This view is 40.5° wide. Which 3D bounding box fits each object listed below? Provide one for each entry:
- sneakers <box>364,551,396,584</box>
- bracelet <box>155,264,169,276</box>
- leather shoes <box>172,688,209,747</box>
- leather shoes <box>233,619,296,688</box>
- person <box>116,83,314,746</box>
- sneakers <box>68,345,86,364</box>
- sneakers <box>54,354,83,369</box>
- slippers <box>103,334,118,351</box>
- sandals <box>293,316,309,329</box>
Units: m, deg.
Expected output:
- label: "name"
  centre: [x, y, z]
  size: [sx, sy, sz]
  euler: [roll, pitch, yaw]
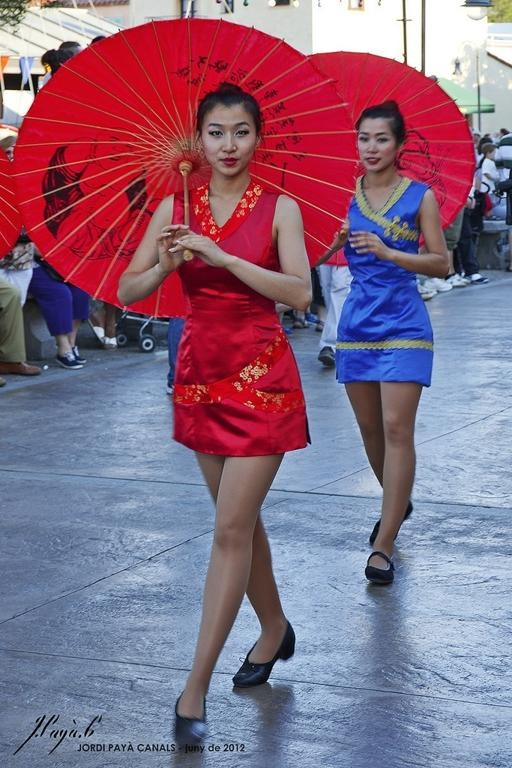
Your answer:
- label: "sneakers"
  centre: [0.559, 0.840, 3.165]
  size: [0.124, 0.128, 0.113]
  euler: [0, 7, 9]
- label: "bracelet"
  centre: [-0.244, -0.291, 1.784]
  size: [0.028, 0.024, 0.025]
  euler: [2, -10, -6]
- label: "leather shoes"
  centre: [-0.174, 0.882, 1.813]
  size: [0.088, 0.111, 0.119]
  euler: [-2, 7, -6]
- label: "leather shoes"
  centre: [0.019, 0.910, 2.320]
  size: [0.097, 0.112, 0.285]
  euler: [7, 26, 40]
- label: "person"
  centre: [-0.089, 0.095, 1.932]
  size: [0.509, 1.796, 0.475]
  euler: [-3, 8, -15]
- label: "sneakers"
  centre: [-2.366, -0.384, 9.262]
  size: [0.152, 0.227, 0.410]
  euler: [-15, 22, -41]
- label: "sneakers"
  centre: [-2.441, -0.305, 9.017]
  size: [0.369, 0.139, 0.158]
  euler: [13, 24, 25]
- label: "slippers"
  centre: [-2.120, -0.588, 10.064]
  size: [0.140, 0.132, 0.213]
  euler: [0, -9, -9]
- label: "sandals"
  centre: [0.750, -1.055, 11.737]
  size: [0.143, 0.145, 0.392]
  euler: [3, 14, 14]
